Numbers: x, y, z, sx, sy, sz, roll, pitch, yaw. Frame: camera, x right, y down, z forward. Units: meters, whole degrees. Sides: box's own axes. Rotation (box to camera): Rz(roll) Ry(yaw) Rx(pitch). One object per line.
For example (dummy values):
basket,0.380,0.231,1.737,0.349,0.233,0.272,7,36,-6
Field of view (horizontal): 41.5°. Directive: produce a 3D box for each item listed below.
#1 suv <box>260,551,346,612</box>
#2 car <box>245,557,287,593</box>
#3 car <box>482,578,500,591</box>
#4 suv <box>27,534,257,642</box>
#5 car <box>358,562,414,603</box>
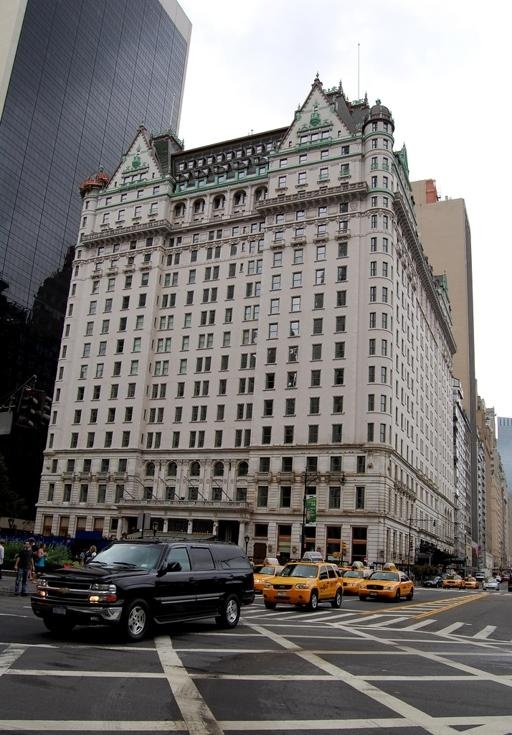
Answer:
suv,1.642,7.713,24.169,1.631,1.232,2.943,-9,-26,23
car,0.421,10.378,34.116,1.985,1.473,4.305,-6,-21,16
car,25.449,23.512,72.693,1.475,1.069,3.173,-10,-31,12
suv,-2.149,4.437,13.999,2.204,1.657,4.747,-10,-21,28
car,6.516,10.714,33.016,1.464,1.168,3.268,-7,-28,18
